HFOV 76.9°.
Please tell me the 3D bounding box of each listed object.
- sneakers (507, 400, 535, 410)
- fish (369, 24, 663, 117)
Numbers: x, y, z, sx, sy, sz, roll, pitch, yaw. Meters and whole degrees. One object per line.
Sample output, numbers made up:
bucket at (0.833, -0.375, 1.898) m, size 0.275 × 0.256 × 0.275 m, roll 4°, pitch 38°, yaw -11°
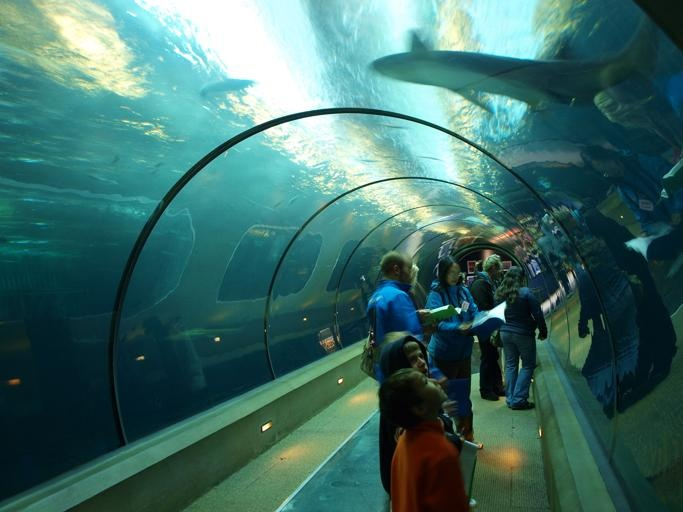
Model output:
sneakers at (2.889, 2.359, 6.916) m, size 0.460 × 0.185 × 0.163 m, roll -1°, pitch -5°, yaw -6°
fish at (1.151, -1.247, 2.924) m, size 0.641 × 0.579 × 1.339 m, roll 8°, pitch 14°, yaw -39°
